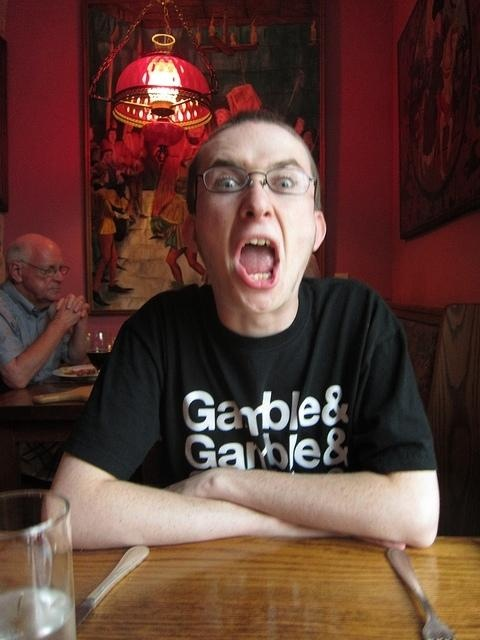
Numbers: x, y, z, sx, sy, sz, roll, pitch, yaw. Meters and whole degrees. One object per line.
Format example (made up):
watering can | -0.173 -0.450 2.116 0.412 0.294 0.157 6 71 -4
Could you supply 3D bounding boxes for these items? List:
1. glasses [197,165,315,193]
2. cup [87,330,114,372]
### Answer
glasses | 0.024 -0.227 0.953 0.177 0.054 0.072 -4 11 -5
cup | -0.468 0.109 1.945 0.080 0.155 0.084 0 5 0
